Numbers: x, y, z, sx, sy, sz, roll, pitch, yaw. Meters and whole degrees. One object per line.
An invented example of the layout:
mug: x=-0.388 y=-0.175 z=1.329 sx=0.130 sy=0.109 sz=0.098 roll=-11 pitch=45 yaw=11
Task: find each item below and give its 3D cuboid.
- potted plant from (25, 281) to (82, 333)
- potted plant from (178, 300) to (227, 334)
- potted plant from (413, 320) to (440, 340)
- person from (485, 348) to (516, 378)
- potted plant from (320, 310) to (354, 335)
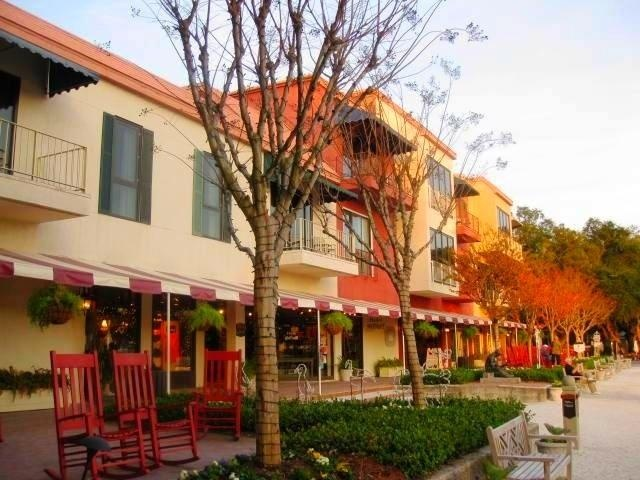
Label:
potted plant: x=-5.922 y=1.385 z=10.694 sx=1.050 sy=0.856 sz=0.550 roll=-5 pitch=-14 yaw=2
potted plant: x=-3.438 y=2.229 z=14.351 sx=1.079 sy=0.933 sz=1.155 roll=5 pitch=-10 yaw=-24
potted plant: x=5.956 y=4.964 z=27.126 sx=1.570 sy=1.304 sz=1.713 roll=3 pitch=-4 yaw=18
person: x=8.064 y=5.392 z=21.382 sx=1.431 sy=1.731 sz=1.028 roll=-2 pitch=-6 yaw=18
potted plant: x=0.762 y=3.351 z=19.849 sx=1.176 sy=0.995 sz=1.240 roll=7 pitch=-10 yaw=-25
